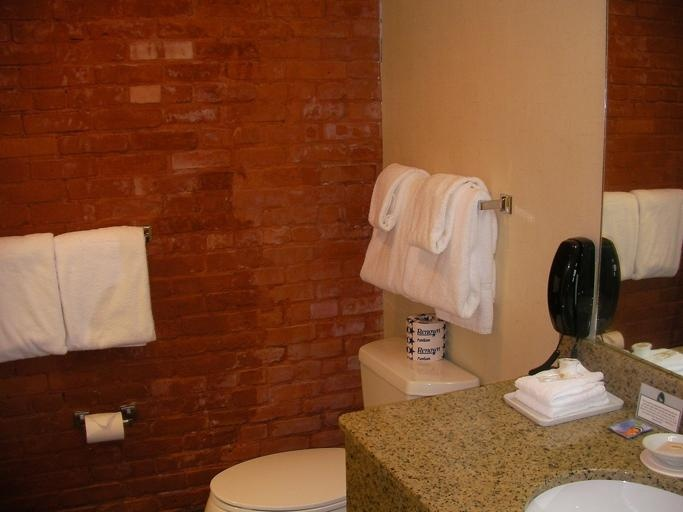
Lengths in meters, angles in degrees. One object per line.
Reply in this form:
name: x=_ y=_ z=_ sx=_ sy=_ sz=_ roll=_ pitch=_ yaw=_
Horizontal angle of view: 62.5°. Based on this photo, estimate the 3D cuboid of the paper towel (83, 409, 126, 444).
paper towel: x=-0.907 y=0.651 z=2.156 sx=0.143 sy=0.104 sz=0.097 roll=-9 pitch=16 yaw=-20

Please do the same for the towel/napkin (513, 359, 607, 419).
towel/napkin: x=0.556 y=0.317 z=1.417 sx=0.163 sy=0.071 sz=0.163 roll=-14 pitch=12 yaw=-17

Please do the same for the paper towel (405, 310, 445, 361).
paper towel: x=0.314 y=0.299 z=2.074 sx=0.159 sy=0.150 sz=0.145 roll=-2 pitch=9 yaw=-15

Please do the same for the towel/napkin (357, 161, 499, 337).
towel/napkin: x=0.295 y=-0.043 z=1.850 sx=0.265 sy=0.506 sz=0.692 roll=-2 pitch=12 yaw=-27

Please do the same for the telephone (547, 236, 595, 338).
telephone: x=0.616 y=0.094 z=1.504 sx=0.114 sy=0.276 sz=0.075 roll=-10 pitch=17 yaw=-19
